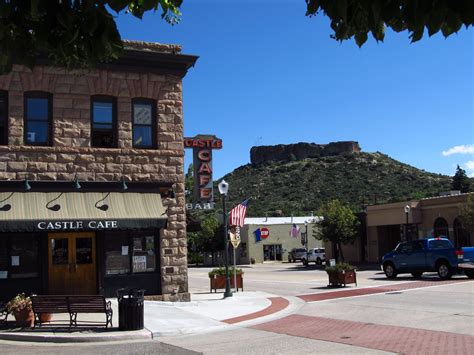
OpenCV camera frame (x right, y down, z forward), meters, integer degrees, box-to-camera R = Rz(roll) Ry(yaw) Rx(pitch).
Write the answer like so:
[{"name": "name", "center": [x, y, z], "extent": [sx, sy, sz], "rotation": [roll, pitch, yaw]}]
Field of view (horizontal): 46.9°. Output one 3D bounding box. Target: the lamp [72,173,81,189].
[{"name": "lamp", "center": [-5.707, 0.107, 19.485], "extent": [0.268, 0.539, 0.405], "rotation": [1, 2, -32]}]

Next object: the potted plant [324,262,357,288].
[{"name": "potted plant", "center": [5.058, 4.604, 26.453], "extent": [1.149, 1.346, 1.314], "rotation": [3, -12, -32]}]

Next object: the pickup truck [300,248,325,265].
[{"name": "pickup truck", "center": [7.324, 7.659, 53.406], "extent": [1.294, 1.125, 2.285], "rotation": [2, -4, -30]}]

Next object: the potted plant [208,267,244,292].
[{"name": "potted plant", "center": [-0.426, 4.814, 25.815], "extent": [1.294, 0.870, 0.765], "rotation": [-2, 9, -4]}]

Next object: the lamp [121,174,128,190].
[{"name": "lamp", "center": [-4.115, 0.153, 20.024], "extent": [0.211, 0.569, 0.387], "rotation": [2, 2, -13]}]

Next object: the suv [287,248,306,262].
[{"name": "suv", "center": [6.800, 8.712, 61.811], "extent": [1.156, 1.153, 2.481], "rotation": [0, -2, -11]}]
